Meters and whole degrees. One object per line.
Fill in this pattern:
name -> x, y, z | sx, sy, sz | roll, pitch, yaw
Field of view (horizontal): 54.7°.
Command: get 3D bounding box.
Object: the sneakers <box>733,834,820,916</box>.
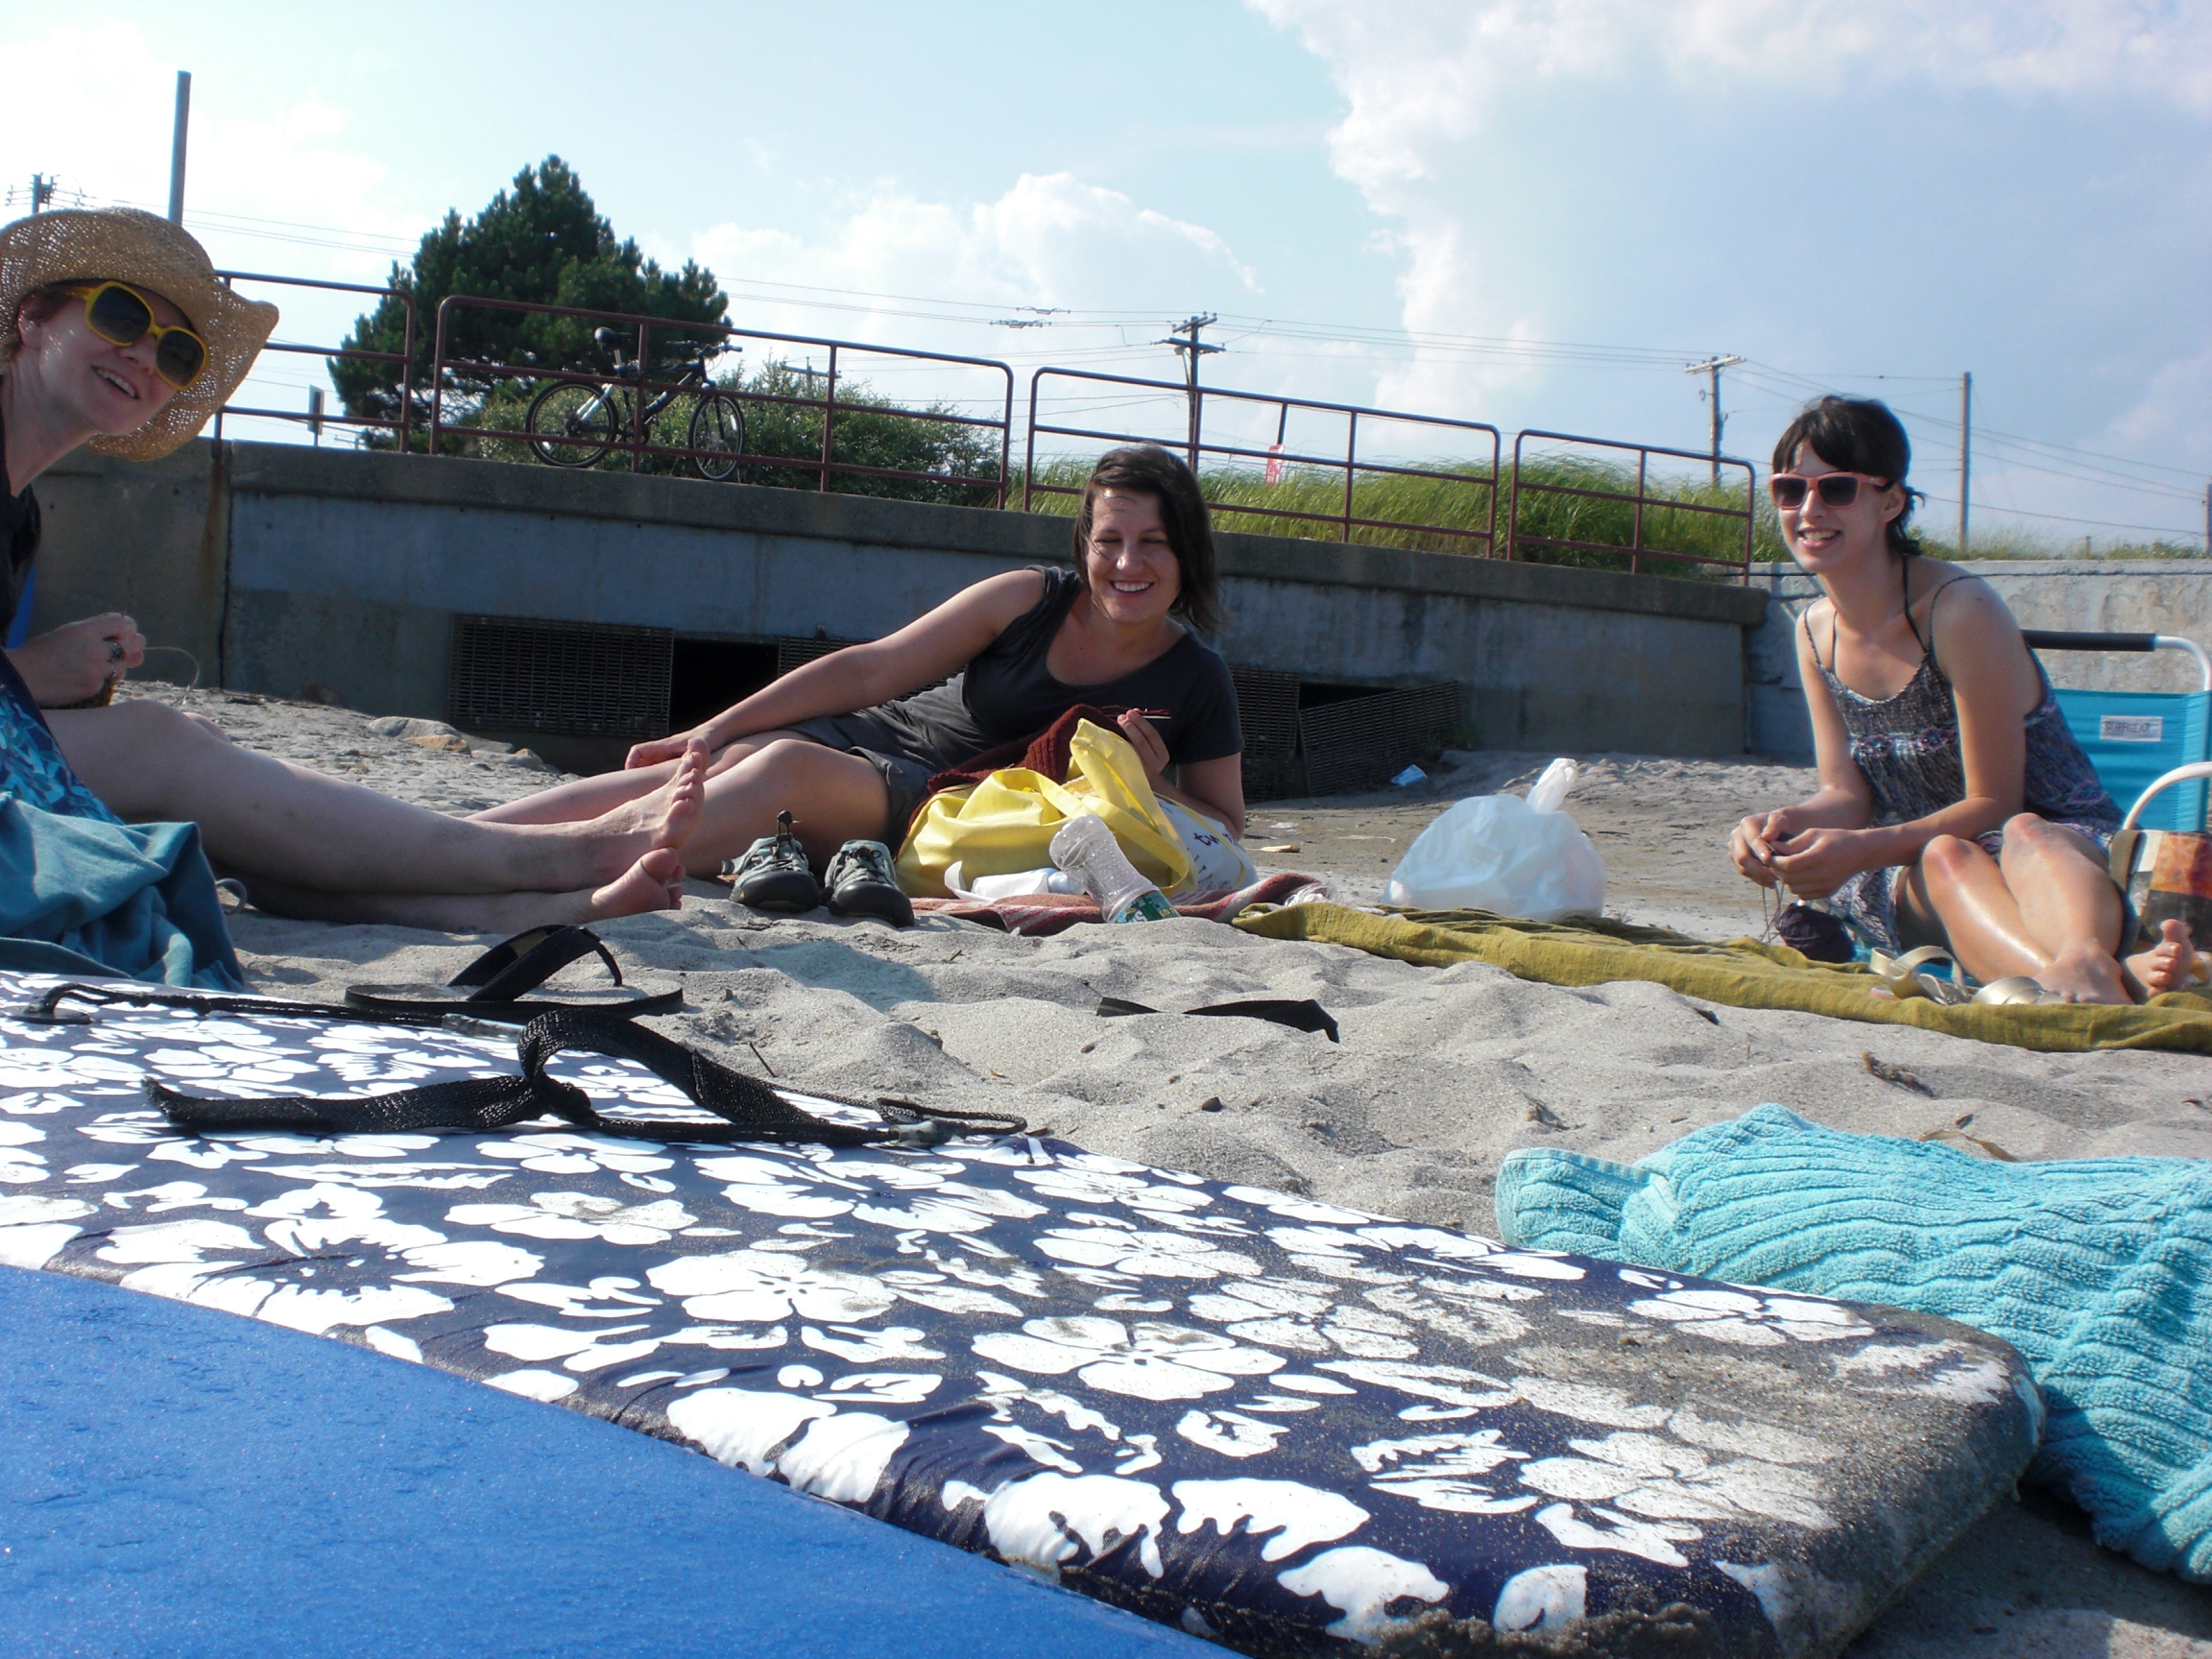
sneakers -> -0.552, 0.081, 3.603 | 0.142, 0.124, 0.230 | 2, 7, -1

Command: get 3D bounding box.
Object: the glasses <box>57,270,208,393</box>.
glasses -> -1.374, -0.713, 3.062 | 0.091, 0.131, 0.199 | 5, 8, 24

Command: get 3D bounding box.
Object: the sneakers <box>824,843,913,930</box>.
sneakers -> -0.399, 0.096, 3.646 | 0.141, 0.121, 0.245 | 0, 7, -12

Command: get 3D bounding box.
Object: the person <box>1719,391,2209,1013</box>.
person -> 1.437, -0.227, 3.539 | 0.719, 0.990, 0.962 | 4, 8, 15

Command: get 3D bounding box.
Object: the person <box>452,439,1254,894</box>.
person -> -0.253, -0.287, 4.104 | 1.701, 0.854, 0.677 | 3, 15, -28

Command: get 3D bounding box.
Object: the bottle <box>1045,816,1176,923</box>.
bottle -> 0.003, 0.082, 3.779 | 0.288, 0.105, 0.116 | 41, 10, 18
